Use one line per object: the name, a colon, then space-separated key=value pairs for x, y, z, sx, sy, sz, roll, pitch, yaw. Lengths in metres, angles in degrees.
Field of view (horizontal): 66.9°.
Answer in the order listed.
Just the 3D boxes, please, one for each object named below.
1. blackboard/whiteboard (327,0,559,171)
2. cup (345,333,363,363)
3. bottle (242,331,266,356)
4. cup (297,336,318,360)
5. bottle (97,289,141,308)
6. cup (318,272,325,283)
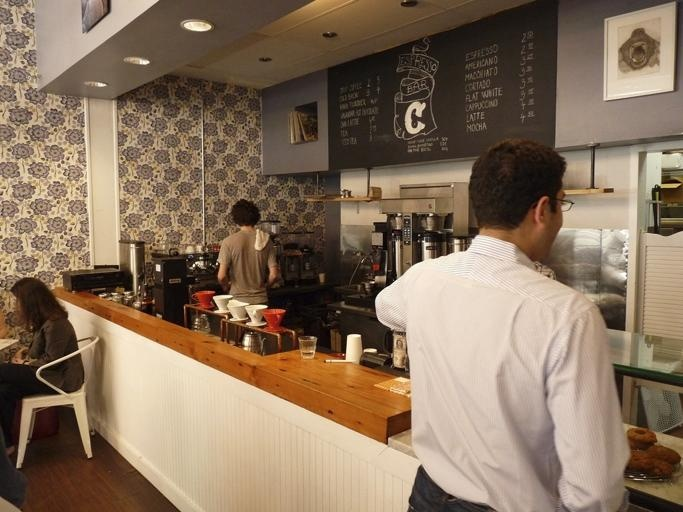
blackboard/whiteboard: x=0.819 y=-1.425 z=4.659 sx=0.065 sy=1.121 sz=2.260 roll=-7 pitch=6 yaw=-44
cup: x=0.068 y=0.480 z=2.732 sx=0.094 sy=0.144 sz=0.194 roll=-2 pitch=4 yaw=1
bottle: x=-0.504 y=0.503 z=2.986 sx=0.129 sy=0.132 sz=0.094 roll=3 pitch=-3 yaw=-12
cup: x=-0.172 y=0.483 z=2.746 sx=0.109 sy=0.117 sz=0.112 roll=-2 pitch=-2 yaw=0
bottle: x=-1.985 y=0.379 z=4.693 sx=0.227 sy=0.119 sz=0.307 roll=2 pitch=2 yaw=-15
cup: x=-0.226 y=0.257 z=6.203 sx=0.090 sy=0.089 sz=0.097 roll=0 pitch=-5 yaw=0
